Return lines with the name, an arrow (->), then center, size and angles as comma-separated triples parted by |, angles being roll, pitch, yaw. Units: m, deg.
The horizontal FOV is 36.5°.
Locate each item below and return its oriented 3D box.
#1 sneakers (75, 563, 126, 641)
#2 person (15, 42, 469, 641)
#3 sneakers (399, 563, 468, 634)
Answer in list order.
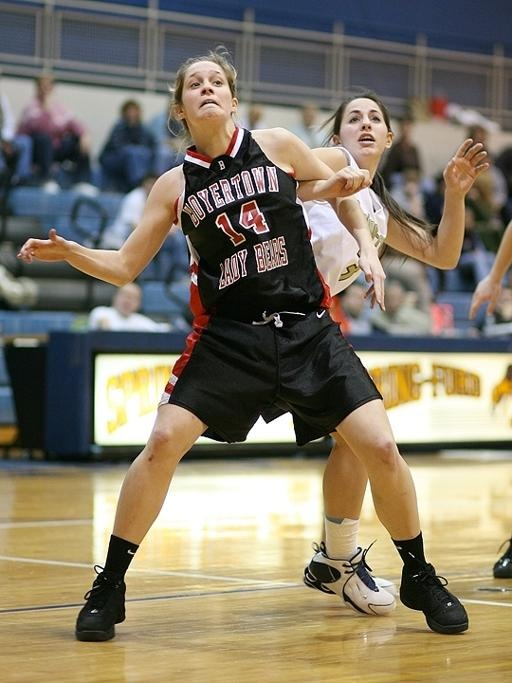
sneakers -> -0.371, 0.651, 1.868 | 0.081, 0.100, 0.196 | 1, -1, 7
person -> -0.054, -0.050, 2.053 | 1.053, 1.519, 0.727 | 1, 7, -14
sneakers -> 0.438, 0.658, 2.025 | 0.093, 0.103, 0.255 | -17, 23, -33
